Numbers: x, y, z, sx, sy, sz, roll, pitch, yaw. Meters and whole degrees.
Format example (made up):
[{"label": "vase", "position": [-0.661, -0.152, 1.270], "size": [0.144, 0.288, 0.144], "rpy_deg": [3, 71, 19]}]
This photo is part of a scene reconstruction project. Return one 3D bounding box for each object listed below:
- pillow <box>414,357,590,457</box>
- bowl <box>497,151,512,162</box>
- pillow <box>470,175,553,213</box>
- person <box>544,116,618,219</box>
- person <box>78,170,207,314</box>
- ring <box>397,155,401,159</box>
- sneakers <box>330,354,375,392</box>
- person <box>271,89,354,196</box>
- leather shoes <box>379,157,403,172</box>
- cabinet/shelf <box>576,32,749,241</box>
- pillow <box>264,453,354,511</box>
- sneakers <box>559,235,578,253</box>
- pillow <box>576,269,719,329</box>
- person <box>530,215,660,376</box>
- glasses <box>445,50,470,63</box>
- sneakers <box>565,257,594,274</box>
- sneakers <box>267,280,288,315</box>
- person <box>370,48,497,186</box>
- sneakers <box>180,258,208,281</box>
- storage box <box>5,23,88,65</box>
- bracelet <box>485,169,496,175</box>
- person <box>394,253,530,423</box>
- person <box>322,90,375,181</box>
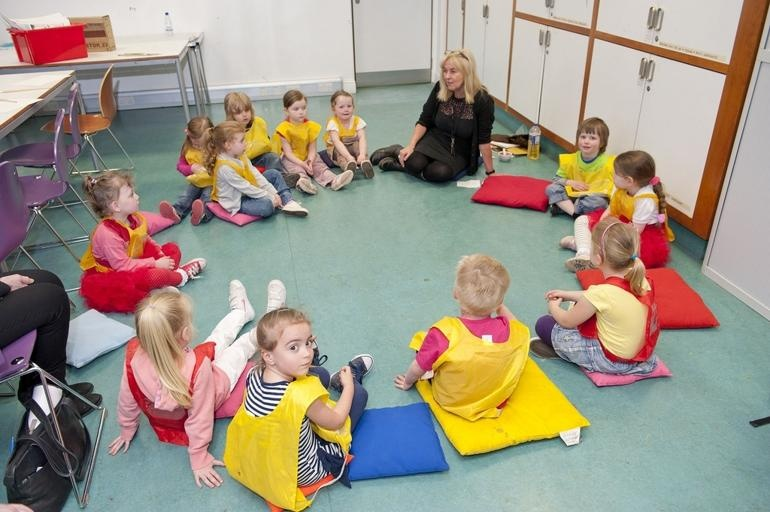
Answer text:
[{"label": "pillow", "position": [0.631, 0.737, 2.411], "size": [0.437, 0.067, 0.450], "rpy_deg": [-11, 32, -13]}, {"label": "bowl", "position": [1.215, -1.001, 4.923], "size": [0.146, 0.080, 0.132], "rpy_deg": [5, 29, 11]}, {"label": "pillow", "position": [1.093, -0.561, 4.253], "size": [0.634, 0.148, 0.446], "rpy_deg": [7, 29, 15]}, {"label": "person", "position": [1.563, -0.695, 3.873], "size": [0.499, 0.712, 0.506], "rpy_deg": [9, 33, 29]}, {"label": "person", "position": [-1.529, -0.208, 3.482], "size": [0.949, 1.060, 0.785], "rpy_deg": [2, 29, -17]}, {"label": "ring", "position": [0.130, -0.932, 4.628], "size": [0.031, 0.030, 0.037], "rpy_deg": [-10, 25, -16]}, {"label": "sneakers", "position": [-0.184, 0.602, 2.703], "size": [0.119, 0.101, 0.292], "rpy_deg": [-4, 29, 46]}, {"label": "person", "position": [-0.684, -1.025, 4.455], "size": [0.515, 0.747, 0.909], "rpy_deg": [-11, 34, -25]}, {"label": "leather shoes", "position": [0.047, -0.886, 4.731], "size": [0.247, 0.106, 0.103], "rpy_deg": [-2, 2, -6]}, {"label": "cabinet/shelf", "position": [1.945, -0.789, 3.372], "size": [0.435, 1.226, 1.271], "rpy_deg": [-4, 33, -19]}, {"label": "pillow", "position": [-0.377, 1.059, 2.251], "size": [0.250, 0.265, 0.062], "rpy_deg": [-32, 67, -17]}, {"label": "sneakers", "position": [1.337, -0.085, 3.576], "size": [0.077, 0.051, 0.130], "rpy_deg": [-11, 13, 4]}, {"label": "pillow", "position": [1.785, 0.277, 3.047], "size": [0.490, 0.117, 0.457], "rpy_deg": [-2, 30, -1]}, {"label": "person", "position": [1.219, 0.197, 2.825], "size": [0.664, 0.805, 0.786], "rpy_deg": [-19, 22, -38]}, {"label": "glasses", "position": [0.626, -1.701, 4.198], "size": [0.214, 0.078, 0.154], "rpy_deg": [6, 29, 13]}, {"label": "sneakers", "position": [1.305, 0.058, 3.327], "size": [0.198, 0.085, 0.077], "rpy_deg": [-9, 53, 4]}, {"label": "sneakers", "position": [-0.657, 0.249, 2.947], "size": [0.065, 0.189, 0.074], "rpy_deg": [4, 2, 7]}, {"label": "person", "position": [0.481, -1.249, 4.487], "size": [1.258, 1.155, 0.760], "rpy_deg": [5, 40, 6]}, {"label": "sneakers", "position": [-1.336, 0.089, 3.470], "size": [0.093, 0.080, 0.236], "rpy_deg": [1, 17, 25]}, {"label": "storage box", "position": [-3.183, -1.993, 4.651], "size": [0.598, 0.307, 0.309], "rpy_deg": [-20, 34, -31]}, {"label": "bracelet", "position": [0.978, -0.774, 4.559], "size": [0.052, 0.038, 0.072], "rpy_deg": [-2, 14, 1]}, {"label": "person", "position": [0.423, 0.379, 2.714], "size": [0.745, 0.906, 0.783], "rpy_deg": [7, 25, 14]}, {"label": "person", "position": [-0.347, -1.156, 4.667], "size": [0.410, 0.672, 0.833], "rpy_deg": [-6, 28, -13]}]
